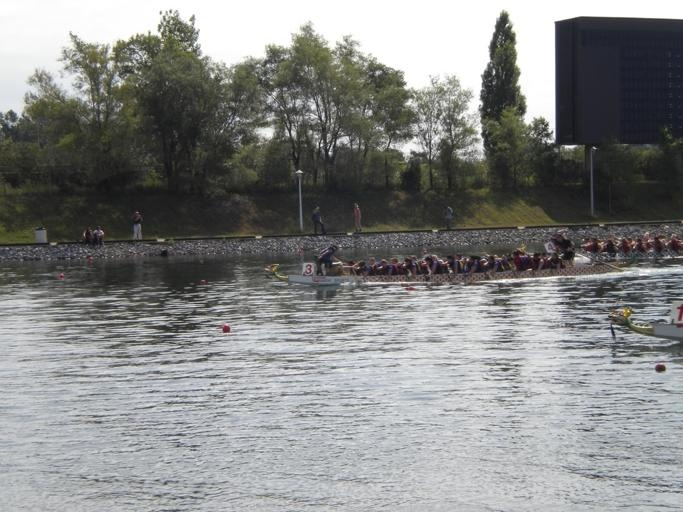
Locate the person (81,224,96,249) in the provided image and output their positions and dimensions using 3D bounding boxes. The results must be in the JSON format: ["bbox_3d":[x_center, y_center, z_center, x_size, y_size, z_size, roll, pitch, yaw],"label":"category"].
[{"bbox_3d":[-17.949,-1.240,84.942,0.828,1.329,2.789,0,1,-12],"label":"person"}]
